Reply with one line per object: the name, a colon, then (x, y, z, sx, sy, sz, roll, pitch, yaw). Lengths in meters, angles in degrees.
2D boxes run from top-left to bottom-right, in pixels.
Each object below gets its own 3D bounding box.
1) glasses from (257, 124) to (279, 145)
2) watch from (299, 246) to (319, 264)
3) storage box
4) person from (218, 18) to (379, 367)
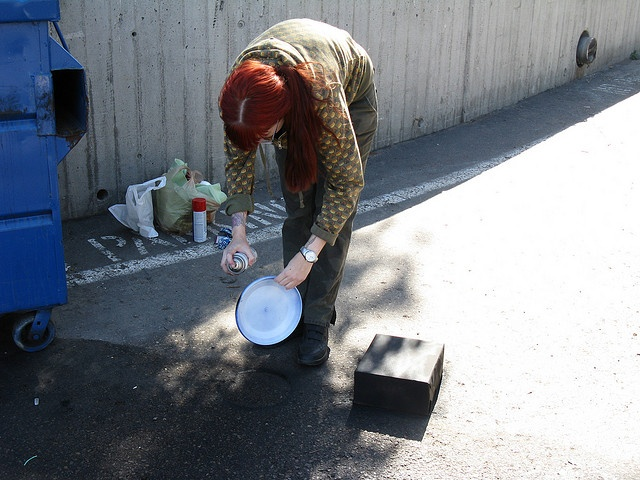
glasses: (-0.241, -0.506, 2.770, 0.039, 0.096, 0.071, 22, -5, -12)
watch: (-0.066, 0.080, 3.320, 0.073, 0.104, 0.099, -45, 27, -17)
storage box: (0.507, 0.830, 3.701, 0.636, 0.247, 0.675, -5, 19, -5)
person: (-0.144, -0.135, 3.406, 0.818, 2.084, 1.103, 6, 23, 4)
